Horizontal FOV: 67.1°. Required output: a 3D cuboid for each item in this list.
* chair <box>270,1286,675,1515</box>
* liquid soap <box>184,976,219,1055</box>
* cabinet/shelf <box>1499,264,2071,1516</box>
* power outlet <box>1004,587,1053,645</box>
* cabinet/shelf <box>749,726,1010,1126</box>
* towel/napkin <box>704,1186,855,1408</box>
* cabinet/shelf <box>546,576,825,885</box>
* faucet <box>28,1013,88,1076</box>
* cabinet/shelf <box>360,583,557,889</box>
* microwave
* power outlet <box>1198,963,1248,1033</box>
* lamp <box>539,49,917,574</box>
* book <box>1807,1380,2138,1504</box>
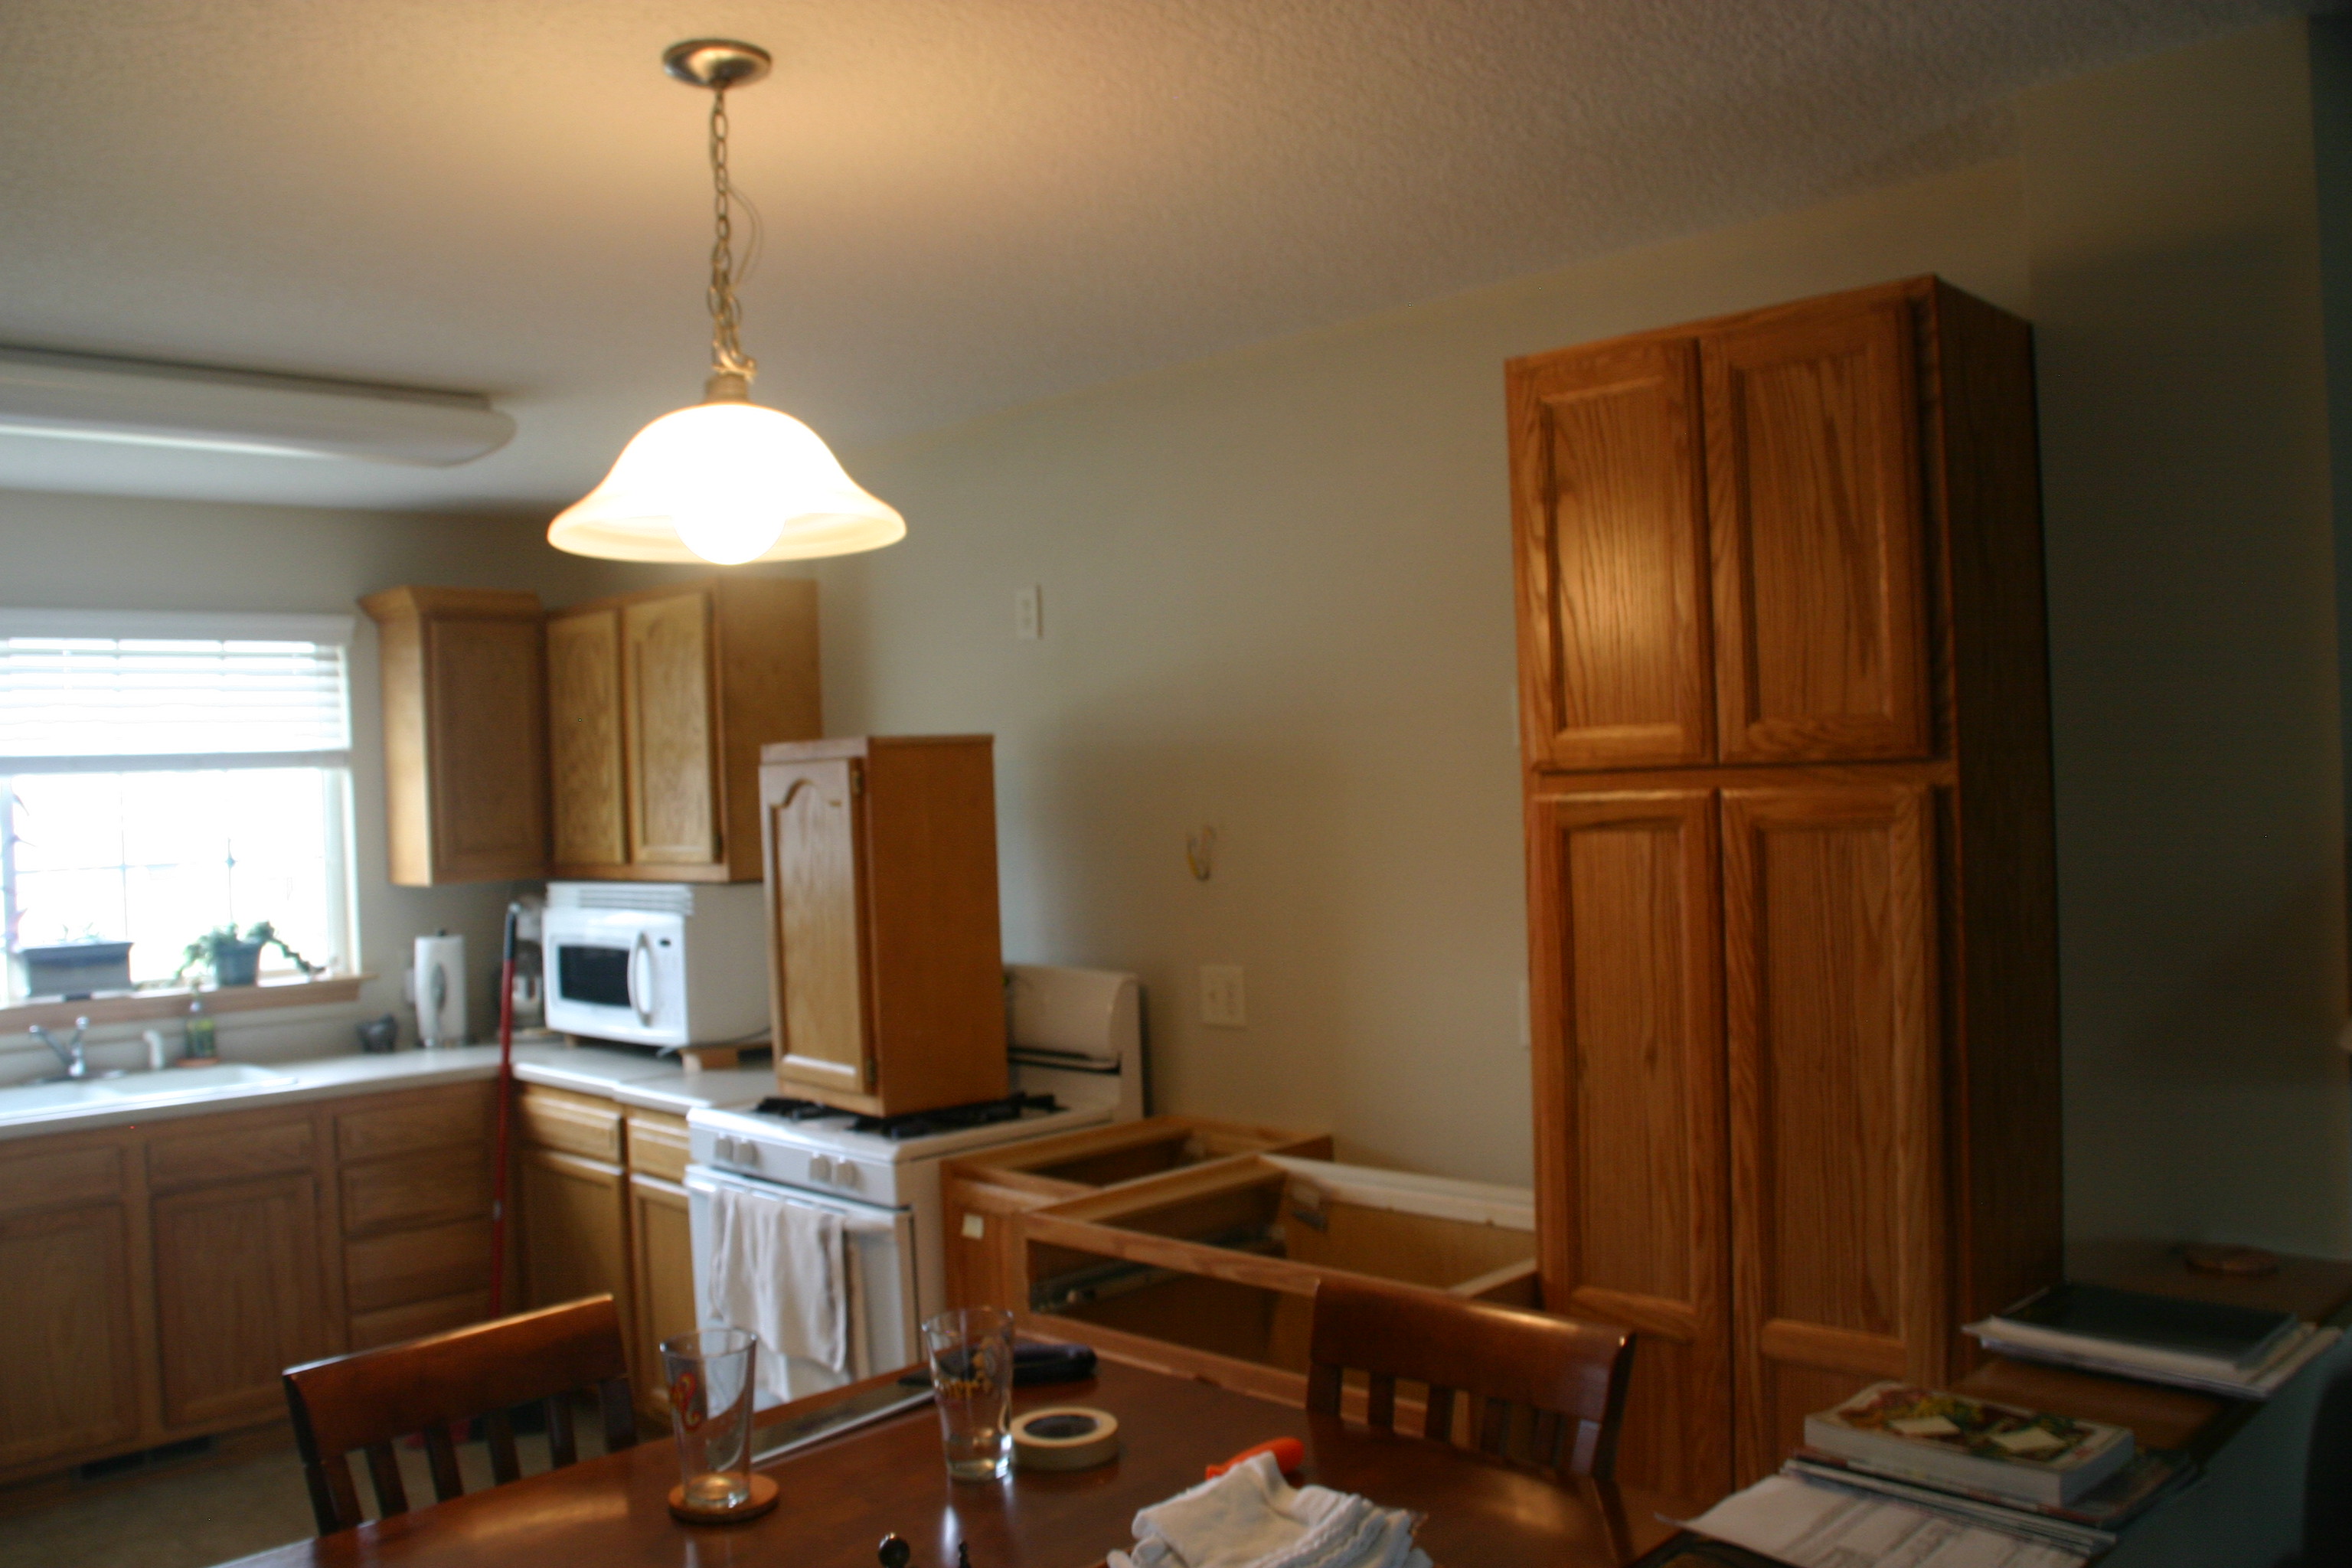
[{"bbox_3d":[-1.024,1.066,2.885,0.559,0.351,0.292,-18,-21,15],"label":"chair"},{"bbox_3d":[-3.064,0.758,5.559,0.097,0.254,0.076,-5,0,-30],"label":"liquid soap"},{"bbox_3d":[1.125,0.224,3.307,1.003,2.151,0.371,-5,0,19],"label":"cabinet/shelf"},{"bbox_3d":[-0.413,-0.477,5.012,0.022,0.194,0.157,-10,13,-44],"label":"power outlet"},{"bbox_3d":[-0.763,0.363,4.542,0.644,0.973,0.342,-5,0,-1],"label":"cabinet/shelf"},{"bbox_3d":[-1.049,1.218,4.472,0.570,0.386,0.091,2,0,35],"label":"towel/napkin"},{"bbox_3d":[-1.592,-0.116,5.684,1.159,0.948,0.444,-6,-5,43],"label":"cabinet/shelf"},{"bbox_3d":[-3.366,0.804,5.351,0.145,0.187,0.107,-5,0,-13],"label":"faucet"},{"bbox_3d":[-2.234,-0.138,5.996,0.569,0.986,0.396,-2,-1,11],"label":"cabinet/shelf"},{"bbox_3d":[-1.572,0.479,5.473,0.750,0.490,0.556,-4,-4,45],"label":"microwave"},{"bbox_3d":[0.126,0.552,4.589,0.027,0.187,0.192,-1,1,-43],"label":"power outlet"},{"bbox_3d":[-0.754,-0.799,2.952,0.679,0.743,0.662,4,24,-3],"label":"lamp"},{"bbox_3d":[1.090,0.897,2.426,0.219,0.043,0.155,1,2,42],"label":"book"}]
